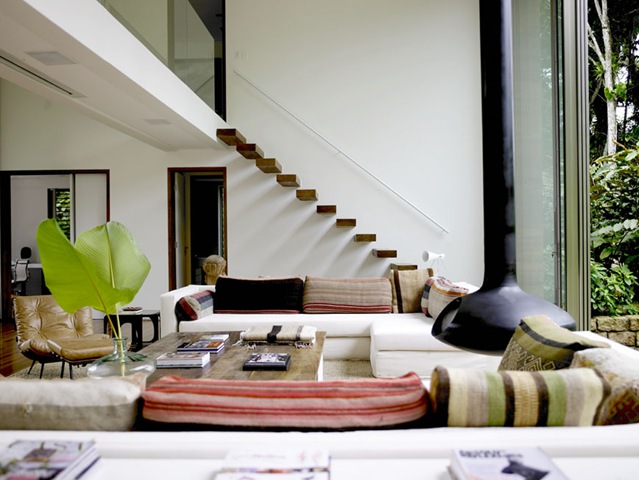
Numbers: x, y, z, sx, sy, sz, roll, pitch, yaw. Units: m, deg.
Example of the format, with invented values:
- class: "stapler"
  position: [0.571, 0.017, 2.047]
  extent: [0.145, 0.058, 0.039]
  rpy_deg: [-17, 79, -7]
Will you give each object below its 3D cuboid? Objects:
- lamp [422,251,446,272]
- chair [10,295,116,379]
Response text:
- class: "lamp"
  position: [1.558, 0.313, 7.071]
  extent: [0.319, 0.319, 0.941]
  rpy_deg: [-1, -1, 13]
- class: "chair"
  position: [-2.183, 0.838, 4.557]
  extent: [0.896, 0.684, 0.712]
  rpy_deg: [0, -3, 36]
